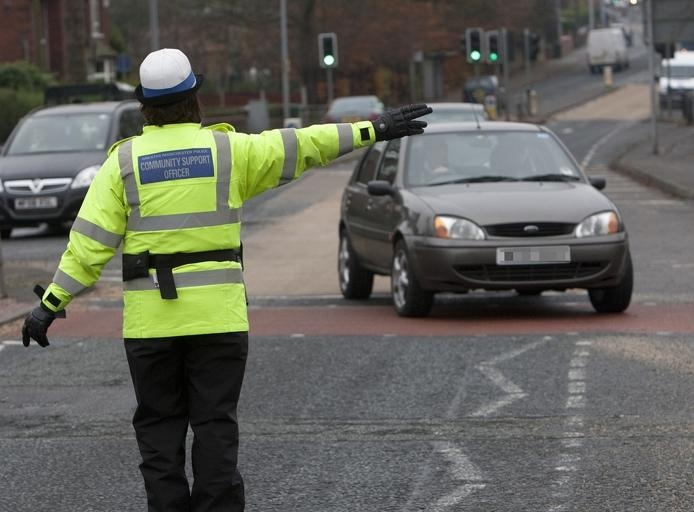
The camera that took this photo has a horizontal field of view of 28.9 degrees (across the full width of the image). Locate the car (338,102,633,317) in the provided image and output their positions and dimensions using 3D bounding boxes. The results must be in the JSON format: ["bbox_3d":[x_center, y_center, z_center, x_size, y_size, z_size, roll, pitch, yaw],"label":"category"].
[{"bbox_3d":[1.003,-0.442,12.223,1.606,1.134,2.649,0,-2,-13],"label":"car"}]

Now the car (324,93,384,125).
[{"bbox_3d":[0.218,-4.501,41.159,1.822,1.176,3.695,-2,2,2],"label":"car"}]

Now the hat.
[{"bbox_3d":[-0.933,-0.929,7.120,0.278,0.171,0.344,-2,26,17],"label":"hat"}]
